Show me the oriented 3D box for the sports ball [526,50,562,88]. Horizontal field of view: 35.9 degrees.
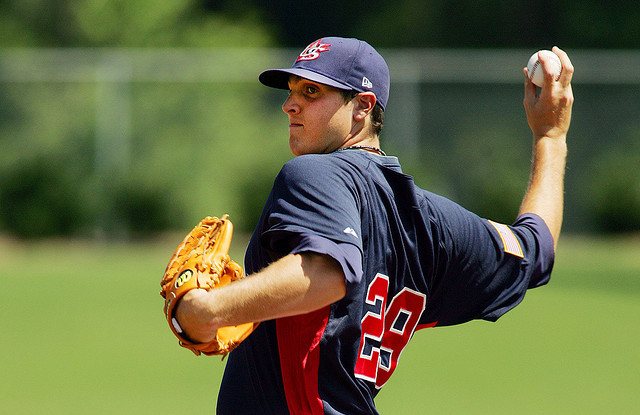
[{"bbox_3d":[1.768,-1.129,7.836,0.245,0.277,0.306,-4,25,7],"label":"sports ball"}]
